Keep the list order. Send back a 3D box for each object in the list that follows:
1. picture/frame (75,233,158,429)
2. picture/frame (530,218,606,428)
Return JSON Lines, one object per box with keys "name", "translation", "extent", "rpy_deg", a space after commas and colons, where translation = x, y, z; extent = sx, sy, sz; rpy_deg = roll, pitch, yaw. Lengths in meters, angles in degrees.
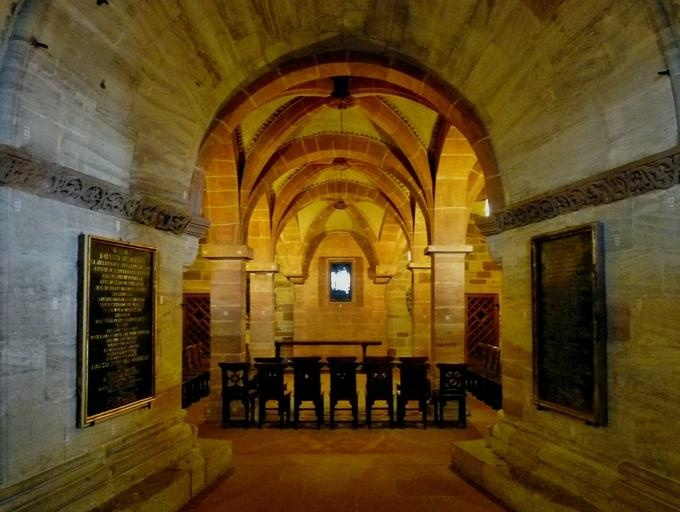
{"name": "picture/frame", "translation": [-1.712, 0.543, 3.884], "extent": [0.077, 1.357, 0.744], "rpy_deg": [-2, -4, 21]}
{"name": "picture/frame", "translation": [1.794, 0.511, 3.994], "extent": [0.098, 1.484, 0.707], "rpy_deg": [1, -4, -21]}
